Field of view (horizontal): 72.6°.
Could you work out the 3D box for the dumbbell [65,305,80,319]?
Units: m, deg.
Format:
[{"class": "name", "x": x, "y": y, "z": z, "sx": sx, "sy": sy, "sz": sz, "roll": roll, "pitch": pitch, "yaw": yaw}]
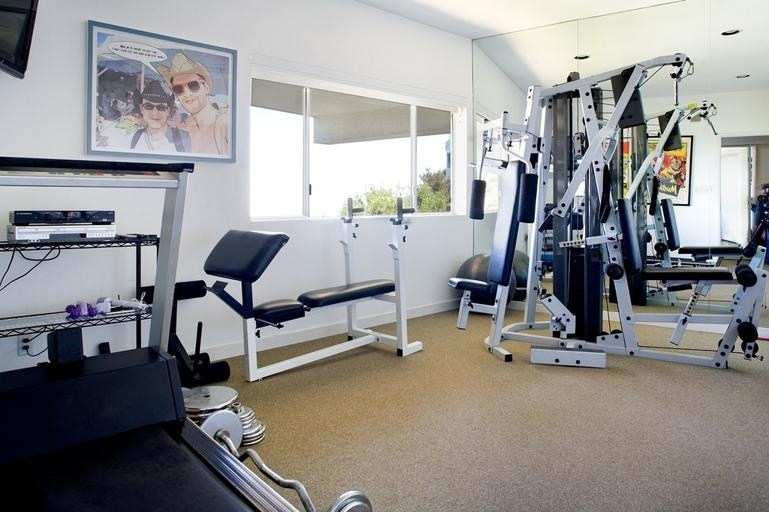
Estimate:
[{"class": "dumbbell", "x": -2.066, "y": 0.376, "z": 3.469, "sx": 0.089, "sy": 0.042, "sz": 0.091, "roll": -10, "pitch": 46, "yaw": -22}]
